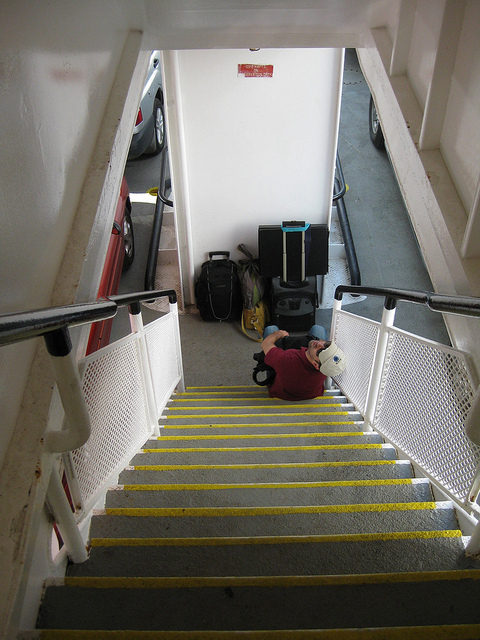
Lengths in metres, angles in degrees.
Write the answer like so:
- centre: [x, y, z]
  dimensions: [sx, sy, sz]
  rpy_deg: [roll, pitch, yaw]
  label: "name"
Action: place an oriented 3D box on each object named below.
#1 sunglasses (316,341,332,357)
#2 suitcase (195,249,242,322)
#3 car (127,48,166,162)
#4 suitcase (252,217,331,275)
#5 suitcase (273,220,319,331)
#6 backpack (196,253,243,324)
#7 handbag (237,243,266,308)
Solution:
- centre: [0.541, 0.174, 2.809]
  dimensions: [0.034, 0.090, 0.080]
  rpy_deg: [36, 34, -1]
  label: "sunglasses"
- centre: [-0.231, -0.385, 4.814]
  dimensions: [0.436, 0.767, 0.382]
  rpy_deg: [-8, 27, -13]
  label: "suitcase"
- centre: [-1.368, -2.984, 6.235]
  dimensions: [0.588, 1.460, 1.689]
  rpy_deg: [-8, 27, -10]
  label: "car"
- centre: [0.543, -0.785, 4.517]
  dimensions: [0.495, 0.466, 0.105]
  rpy_deg: [1, 34, 2]
  label: "suitcase"
- centre: [0.588, -0.375, 4.596]
  dimensions: [0.468, 1.430, 0.373]
  rpy_deg: [-1, 48, 6]
  label: "suitcase"
- centre: [-0.202, -0.138, 4.934]
  dimensions: [0.554, 0.497, 0.960]
  rpy_deg: [-5, 49, -3]
  label: "backpack"
- centre: [0.125, -0.500, 4.678]
  dimensions: [0.177, 0.492, 0.445]
  rpy_deg: [0, 41, 11]
  label: "handbag"
